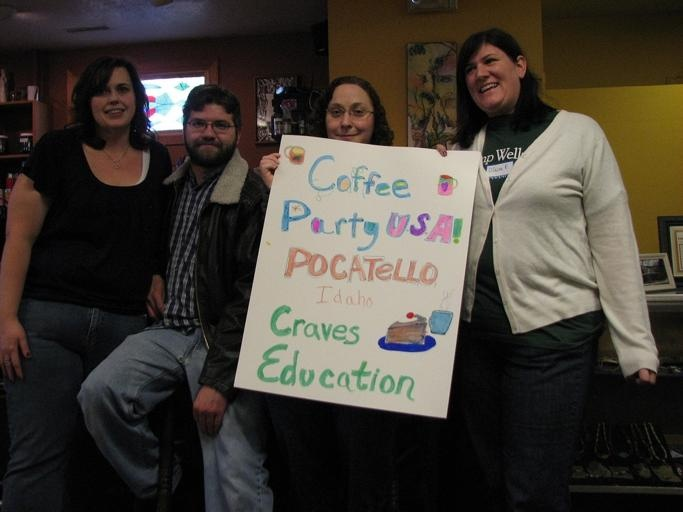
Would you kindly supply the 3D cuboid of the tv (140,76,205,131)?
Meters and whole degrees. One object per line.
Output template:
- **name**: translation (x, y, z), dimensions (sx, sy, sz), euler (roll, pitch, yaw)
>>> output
- **tv**: translation (-1.679, -1.500, 5.776), dimensions (0.058, 0.531, 0.768), euler (14, 20, 27)

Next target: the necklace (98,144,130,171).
- **necklace**: translation (-1.074, -0.459, 2.758), dimensions (0.116, 0.112, 0.037), euler (0, -14, -30)

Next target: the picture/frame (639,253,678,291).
- **picture/frame**: translation (1.650, 0.089, 3.056), dimensions (0.199, 0.228, 0.018), euler (-2, -25, 8)
